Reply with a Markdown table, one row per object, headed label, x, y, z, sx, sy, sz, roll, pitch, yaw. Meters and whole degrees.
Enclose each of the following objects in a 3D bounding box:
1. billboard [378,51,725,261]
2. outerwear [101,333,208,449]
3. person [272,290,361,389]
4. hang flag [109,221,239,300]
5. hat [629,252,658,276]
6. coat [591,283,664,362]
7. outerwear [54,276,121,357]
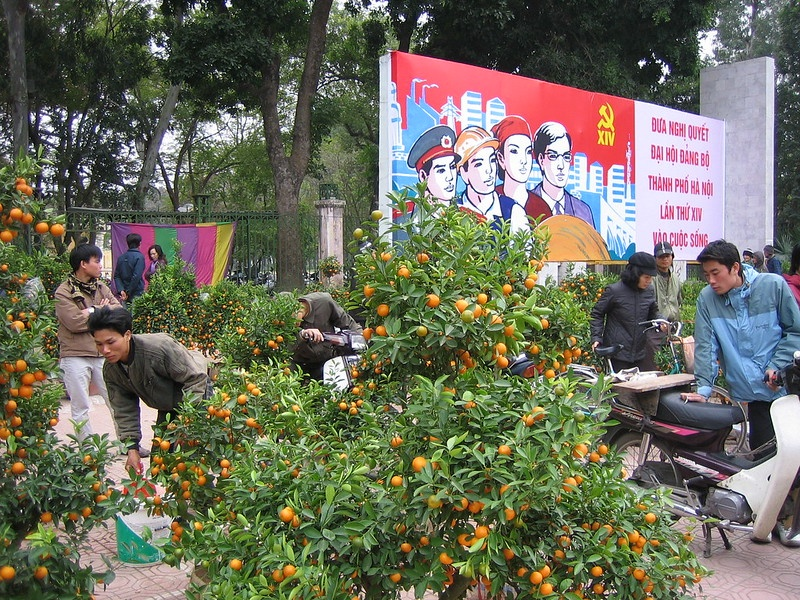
| label | x | y | z | sx | sy | sz | roll | pitch | yaw |
| --- | --- | --- | --- | --- | --- | --- | --- | --- | --- |
| billboard | 2.621 | -2.099 | 10.624 | 6.163 | 2.492 | 0.262 | 5 | -3 | -19 |
| outerwear | -1.831 | 0.665 | 5.100 | 0.722 | 0.858 | 0.631 | -5 | 2 | 16 |
| person | -0.789 | 0.306 | 6.397 | 0.808 | 0.644 | 0.558 | 0 | 5 | 28 |
| hang flag | -4.251 | -0.796 | 12.536 | 0.029 | 1.296 | 1.616 | -7 | -4 | 44 |
| hat | 2.519 | -0.376 | 6.990 | 0.251 | 0.160 | 0.198 | 1 | 3 | -36 |
| coat | 2.446 | 0.179 | 7.237 | 0.729 | 0.954 | 0.575 | -3 | 24 | 2 |
| outerwear | -3.267 | 0.205 | 7.054 | 0.422 | 0.914 | 0.644 | -7 | -4 | 26 |
